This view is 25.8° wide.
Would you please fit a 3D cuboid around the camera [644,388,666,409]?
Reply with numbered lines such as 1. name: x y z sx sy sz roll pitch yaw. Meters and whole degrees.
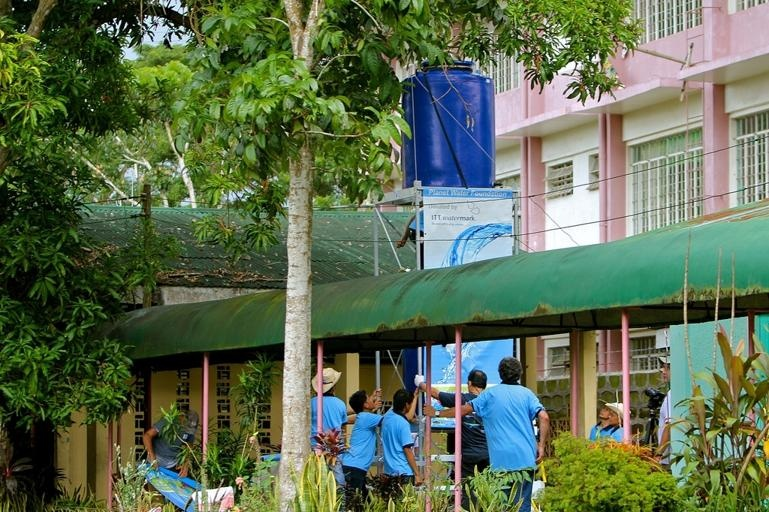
1. camera: 4.365 2.284 27.016 0.490 0.379 0.208 -1 4 -34

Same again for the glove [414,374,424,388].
1. glove: 0.578 2.042 27.748 0.158 0.228 0.095 -2 3 -12

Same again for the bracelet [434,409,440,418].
1. bracelet: 0.795 2.405 25.801 0.077 0.118 0.124 6 -7 7

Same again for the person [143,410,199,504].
1. person: -3.566 3.232 28.089 0.935 1.298 0.603 -2 -10 1

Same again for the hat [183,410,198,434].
1. hat: -3.221 2.774 28.273 0.176 0.407 0.362 -5 -11 17
